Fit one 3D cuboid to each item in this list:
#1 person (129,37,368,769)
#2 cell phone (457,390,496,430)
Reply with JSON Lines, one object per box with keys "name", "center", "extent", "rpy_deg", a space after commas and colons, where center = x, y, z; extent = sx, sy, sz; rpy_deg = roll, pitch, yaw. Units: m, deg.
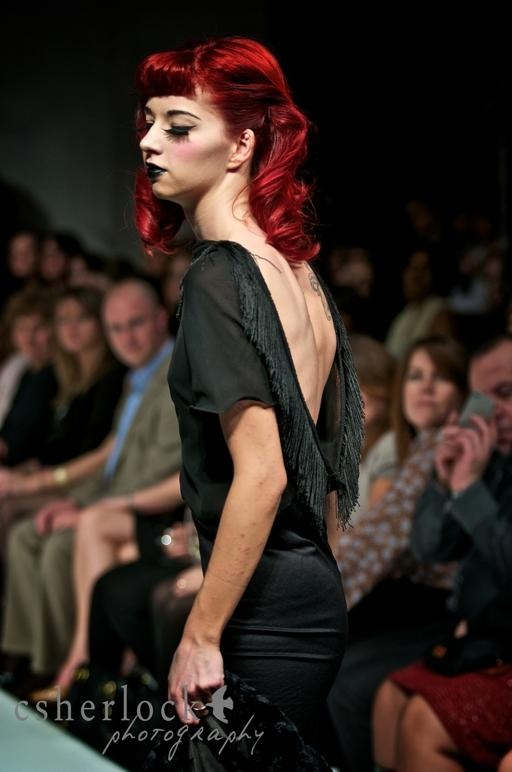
{"name": "person", "center": [0.018, 0.003, 1.009], "extent": [0.308, 0.909, 0.466], "rpy_deg": [-4, 16, -4]}
{"name": "cell phone", "center": [0.523, 0.056, 1.783], "extent": [0.064, 0.104, 0.013], "rpy_deg": [30, 25, 18]}
